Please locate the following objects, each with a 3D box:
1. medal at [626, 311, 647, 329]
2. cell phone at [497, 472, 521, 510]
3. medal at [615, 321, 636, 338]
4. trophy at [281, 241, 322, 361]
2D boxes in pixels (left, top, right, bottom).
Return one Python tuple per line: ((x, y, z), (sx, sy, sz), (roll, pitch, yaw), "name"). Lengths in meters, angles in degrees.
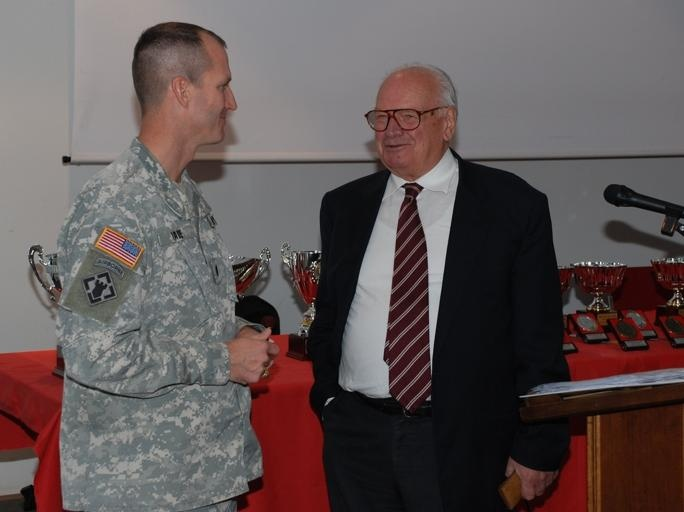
((1.167, 0.244, 2.356), (0.054, 0.015, 0.071), (3, 30, 1), "medal")
((0.393, 0.543, 1.374), (0.018, 0.076, 0.077), (-5, 19, 34), "cell phone")
((1.074, 0.276, 2.241), (0.052, 0.018, 0.069), (-18, 48, -12), "medal")
((-0.143, 0.162, 2.210), (0.125, 0.424, 0.190), (-1, 10, -14), "trophy")
